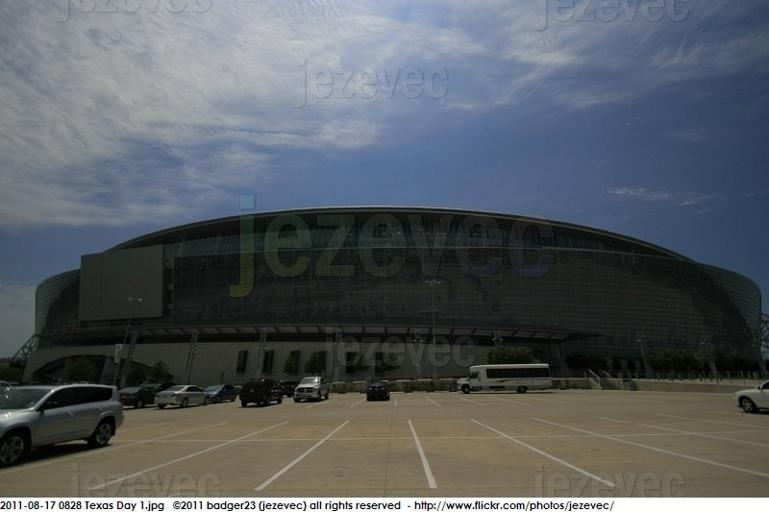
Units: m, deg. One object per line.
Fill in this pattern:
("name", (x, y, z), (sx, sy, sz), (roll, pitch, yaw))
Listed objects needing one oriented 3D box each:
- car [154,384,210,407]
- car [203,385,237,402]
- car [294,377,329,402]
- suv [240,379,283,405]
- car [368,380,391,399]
("car", (-17.159, 11.303, 37.335), (2.223, 1.884, 3.555), (-14, -22, 27))
("car", (-16.113, 12.707, 42.809), (1.560, 1.343, 3.349), (-6, -19, 16))
("car", (-7.128, 12.358, 42.930), (1.870, 1.478, 3.872), (-3, -17, 4))
("suv", (-10.382, 11.075, 37.567), (2.184, 1.447, 4.278), (-3, -18, 5))
("car", (-0.852, 11.894, 40.783), (1.985, 1.685, 2.003), (-7, -20, 10))
